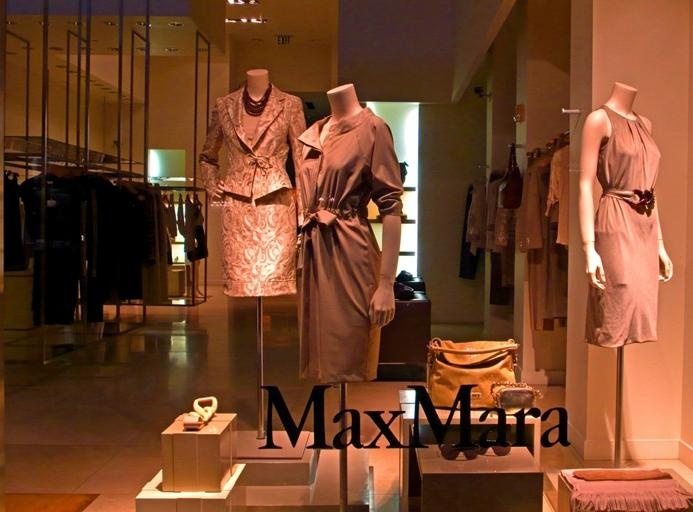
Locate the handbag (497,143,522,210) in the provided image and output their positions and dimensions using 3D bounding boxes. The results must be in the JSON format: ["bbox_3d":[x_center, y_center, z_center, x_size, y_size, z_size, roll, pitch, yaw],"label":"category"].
[{"bbox_3d":[0.910,-0.435,3.936,0.148,0.344,0.080,2,-5,-39],"label":"handbag"}]

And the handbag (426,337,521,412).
[{"bbox_3d":[0.642,0.584,3.616,0.484,0.422,0.298,0,-9,1],"label":"handbag"}]

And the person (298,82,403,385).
[{"bbox_3d":[0.011,-0.099,3.312,0.470,1.360,0.312,-1,-4,-7],"label":"person"}]

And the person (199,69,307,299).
[{"bbox_3d":[-0.496,-0.389,3.815,0.568,1.197,0.225,-1,-4,-11],"label":"person"}]

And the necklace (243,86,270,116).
[{"bbox_3d":[-0.488,-0.789,3.742,0.115,0.166,0.069,-2,-6,5],"label":"necklace"}]

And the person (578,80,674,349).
[{"bbox_3d":[1.414,-0.215,3.631,0.436,1.354,0.290,-3,-4,17],"label":"person"}]
